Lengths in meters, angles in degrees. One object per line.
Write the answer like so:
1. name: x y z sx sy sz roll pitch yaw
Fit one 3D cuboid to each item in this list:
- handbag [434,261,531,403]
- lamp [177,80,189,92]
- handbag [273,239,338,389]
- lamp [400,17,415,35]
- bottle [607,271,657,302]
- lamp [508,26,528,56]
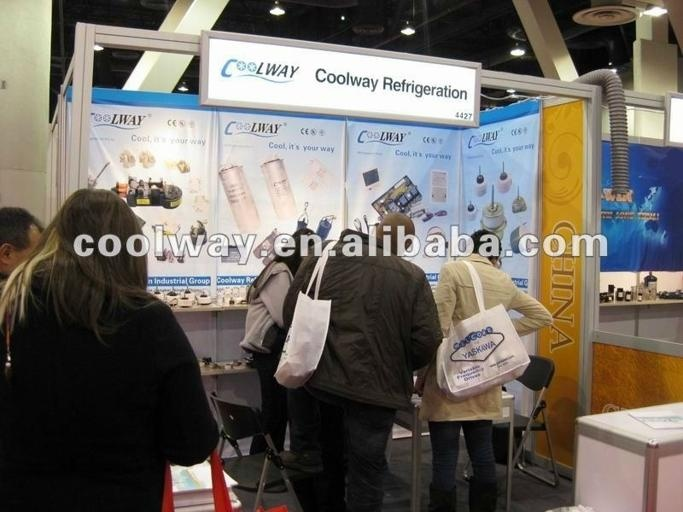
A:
1. handbag: 0.805 0.434 3.231 0.538 0.789 0.219 -1 2 -8
2. lamp: -3.225 -3.403 11.028 0.183 0.205 0.206 6 33 4
3. handbag: -0.188 0.314 2.902 0.332 0.767 0.190 -1 2 -7
4. lamp: 1.015 -3.501 8.447 0.233 0.234 0.416 -1 2 6
5. bottle: 2.792 0.305 5.272 0.717 0.277 0.084 -2 2 -28
6. lamp: 2.904 -3.522 8.989 0.389 0.426 0.315 0 1 -32
